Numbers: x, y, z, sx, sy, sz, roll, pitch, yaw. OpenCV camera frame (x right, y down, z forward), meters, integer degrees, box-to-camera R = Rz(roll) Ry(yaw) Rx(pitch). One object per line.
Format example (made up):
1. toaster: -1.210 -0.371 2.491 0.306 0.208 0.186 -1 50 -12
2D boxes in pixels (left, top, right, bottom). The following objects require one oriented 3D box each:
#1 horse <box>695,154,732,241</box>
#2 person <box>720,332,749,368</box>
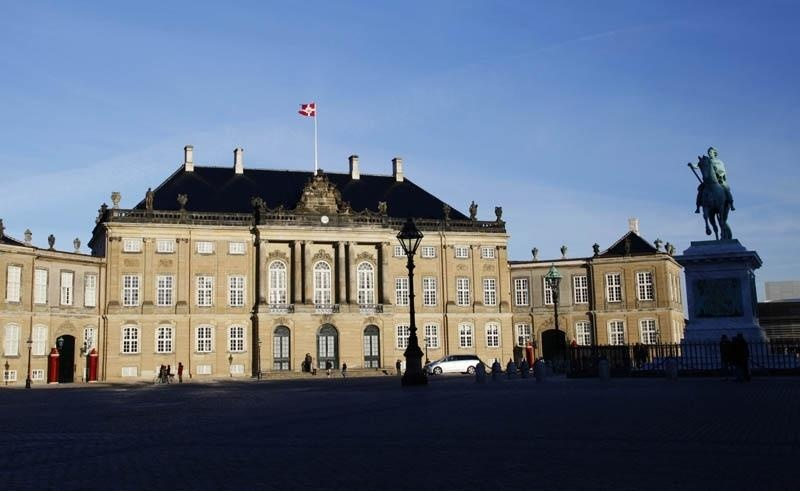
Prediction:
1. horse: 14.464 -2.423 45.541 1.432 4.560 1.987 -5 -10 18
2. person: 14.325 4.551 42.455 0.902 1.448 2.196 -3 -10 10
